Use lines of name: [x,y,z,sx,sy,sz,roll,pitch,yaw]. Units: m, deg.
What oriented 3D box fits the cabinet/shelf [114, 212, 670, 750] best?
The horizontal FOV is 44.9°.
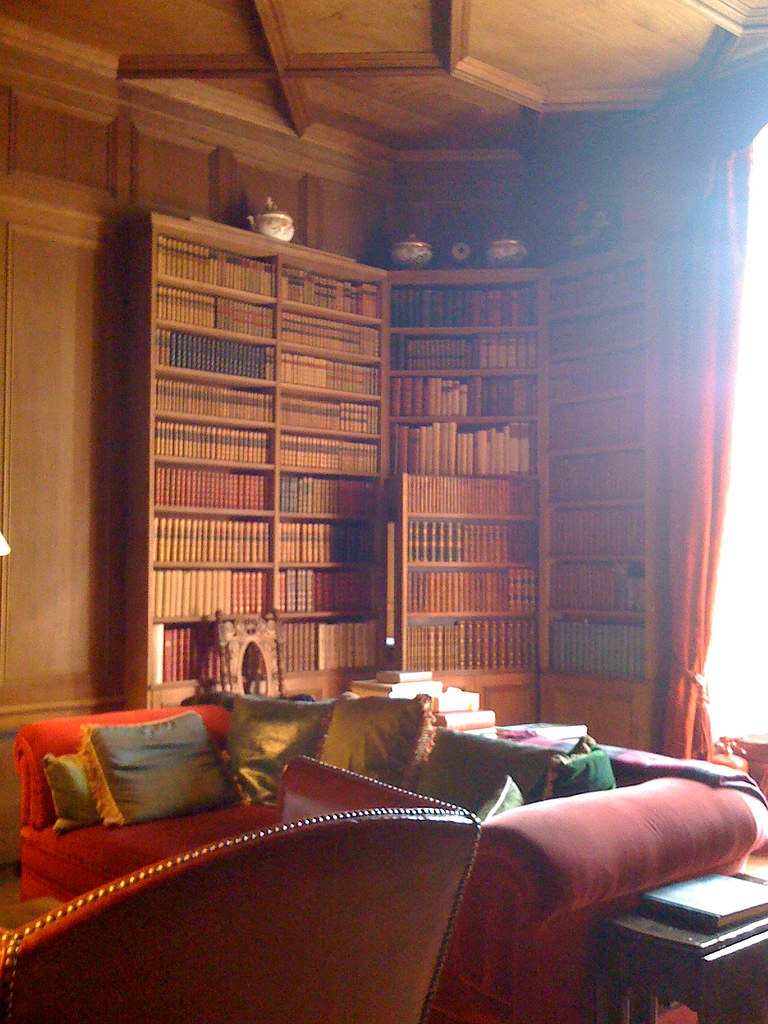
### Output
cabinet/shelf: [0.267,-0.175,5.733,2.743,3.658,2.844,-4,-6,43]
